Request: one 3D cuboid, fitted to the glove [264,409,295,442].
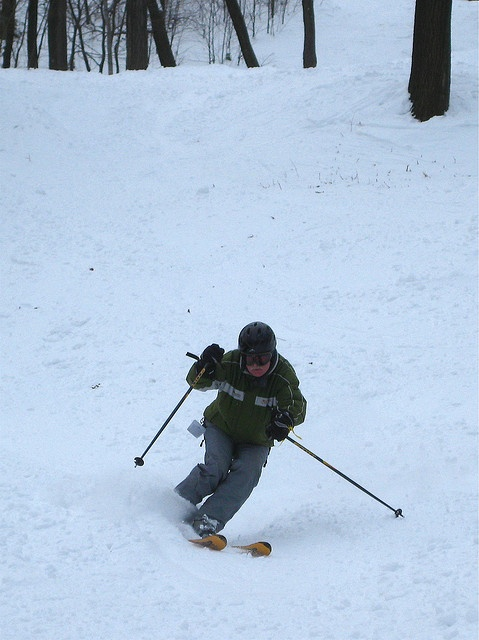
[{"bbox_3d":[0.324,0.870,7.284,0.180,0.238,0.245,6,1,0],"label":"glove"}]

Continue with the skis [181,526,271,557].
[{"bbox_3d":[-0.076,1.787,7.104,0.776,0.244,0.140,11,3,-3],"label":"skis"}]

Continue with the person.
[{"bbox_3d":[0.008,0.920,7.608,1.021,1.731,0.986,12,-8,25],"label":"person"}]

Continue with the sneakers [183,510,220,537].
[{"bbox_3d":[-0.264,1.650,7.211,0.363,0.131,0.167,0,33,9],"label":"sneakers"}]

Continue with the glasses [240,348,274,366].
[{"bbox_3d":[0.134,0.324,7.451,0.242,0.133,0.063,0,11,5],"label":"glasses"}]

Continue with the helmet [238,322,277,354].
[{"bbox_3d":[0.140,0.154,7.435,0.213,0.210,0.298,3,-4,9],"label":"helmet"}]

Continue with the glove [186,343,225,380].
[{"bbox_3d":[-0.289,0.381,7.662,0.225,0.317,0.122,43,17,5],"label":"glove"}]
